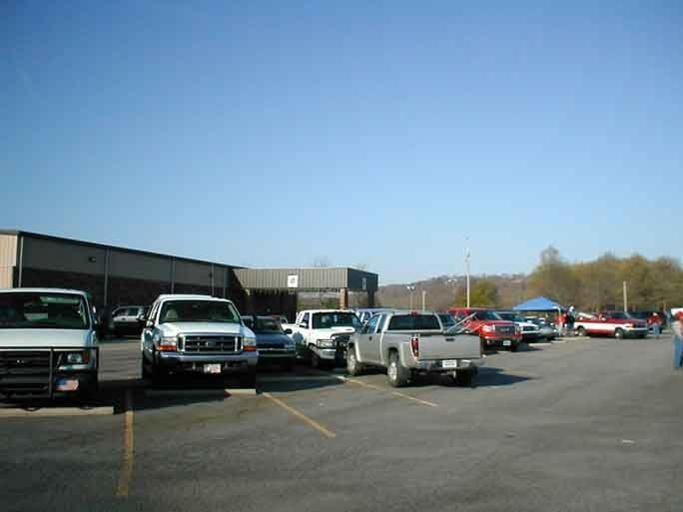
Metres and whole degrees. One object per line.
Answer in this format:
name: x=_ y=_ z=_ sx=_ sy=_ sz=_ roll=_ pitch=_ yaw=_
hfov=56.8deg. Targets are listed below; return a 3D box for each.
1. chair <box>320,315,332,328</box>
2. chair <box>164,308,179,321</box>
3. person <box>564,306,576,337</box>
chair: x=-0.561 y=2.260 z=21.955 sx=0.313 sy=0.429 sz=0.604 roll=-4 pitch=-5 yaw=28
chair: x=-4.237 y=1.437 z=15.670 sx=0.258 sy=0.273 sz=0.251 roll=2 pitch=-10 yaw=-11
person: x=16.029 y=4.362 z=43.558 sx=0.895 sy=1.389 sz=2.369 roll=1 pitch=2 yaw=10
